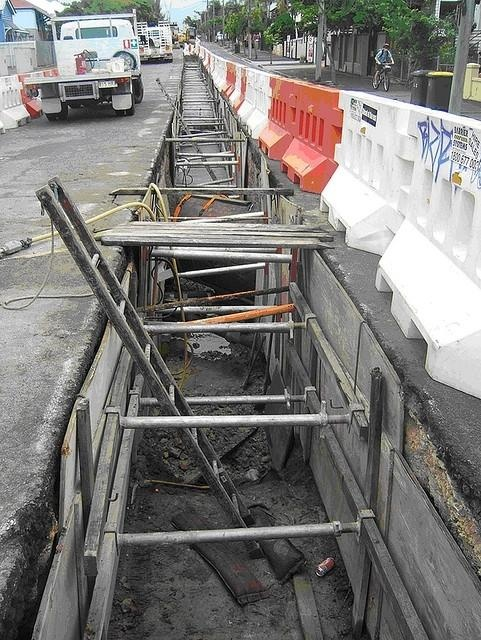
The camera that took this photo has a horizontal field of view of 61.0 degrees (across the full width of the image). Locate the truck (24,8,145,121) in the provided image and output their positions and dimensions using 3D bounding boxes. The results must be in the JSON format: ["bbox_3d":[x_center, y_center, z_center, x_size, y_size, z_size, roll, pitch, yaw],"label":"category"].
[{"bbox_3d":[-5.798,-9.219,16.375,3.127,3.861,6.601,-2,39,-4],"label":"truck"}]

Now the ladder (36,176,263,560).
[{"bbox_3d":[-0.612,0.306,3.070,0.319,3.876,0.185,-19,8,3],"label":"ladder"}]
